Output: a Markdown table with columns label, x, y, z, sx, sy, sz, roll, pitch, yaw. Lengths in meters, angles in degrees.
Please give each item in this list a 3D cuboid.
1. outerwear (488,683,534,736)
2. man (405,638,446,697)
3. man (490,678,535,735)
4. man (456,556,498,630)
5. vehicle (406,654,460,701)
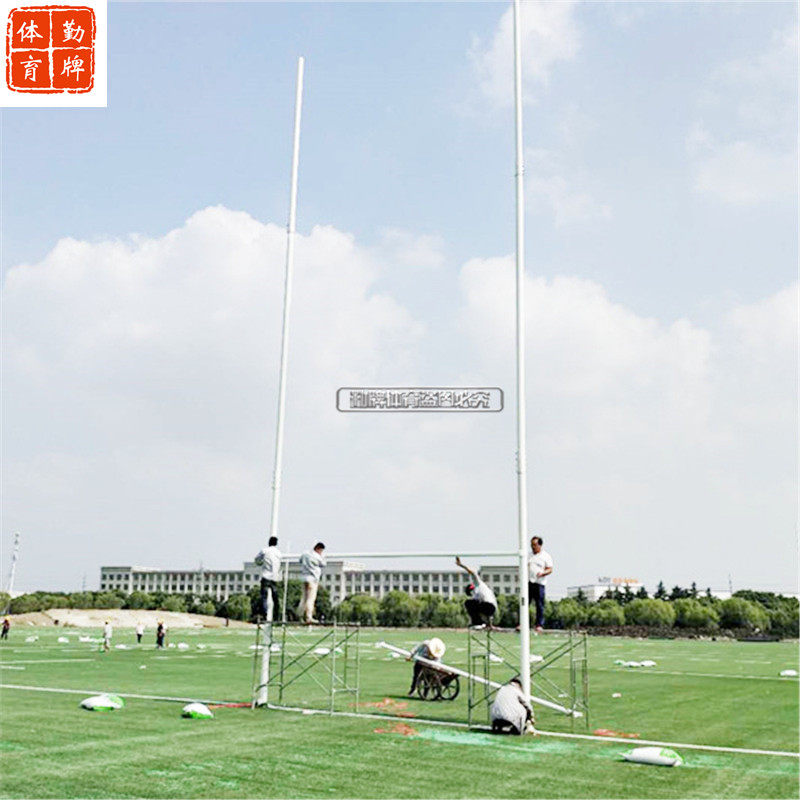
| label | x | y | z | sx | sy | sz | roll | pitch | yaw |
| --- | --- | --- | --- | --- | --- | --- | --- | --- | --- |
| outerwear | 2.665 | 7.149 | 29.849 | 0.975 | 1.322 | 1.256 | 3 | -9 | -16 |
| man | 0.896 | 7.495 | 35.006 | 0.931 | 1.808 | 0.885 | 2 | 2 | -37 |
| man | 2.639 | 7.217 | 29.914 | 0.989 | 1.360 | 1.060 | 18 | -24 | -27 |
| man | 2.064 | 5.093 | 32.347 | 0.764 | 2.188 | 0.781 | -12 | -6 | 0 |
| vehicle | 0.997 | 7.874 | 35.716 | 1.811 | 1.326 | 1.064 | -15 | -24 | 40 |
